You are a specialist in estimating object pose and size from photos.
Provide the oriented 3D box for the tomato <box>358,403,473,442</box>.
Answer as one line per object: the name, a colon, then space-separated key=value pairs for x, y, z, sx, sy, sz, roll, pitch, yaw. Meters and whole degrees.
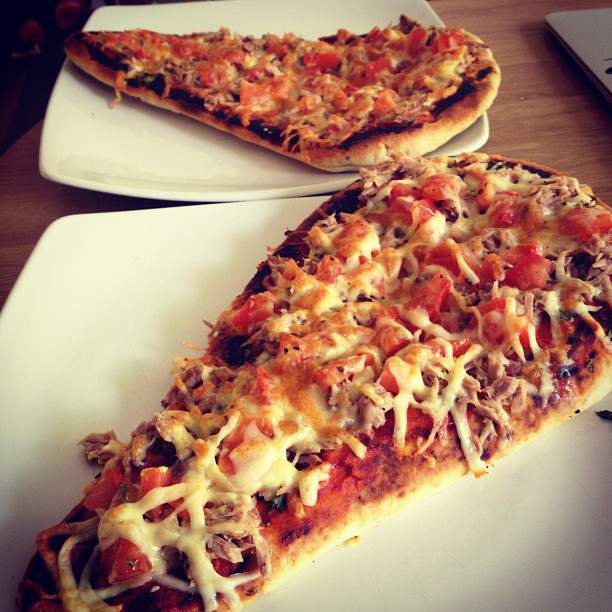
tomato: x=0.299 y=0.314 z=1.762 sx=0.322 sy=0.061 sz=0.084 roll=-4 pitch=58 yaw=-3

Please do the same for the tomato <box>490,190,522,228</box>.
tomato: x=0.625 y=-0.292 z=2.072 sx=0.075 sy=0.118 sz=0.025 roll=9 pitch=68 yaw=49

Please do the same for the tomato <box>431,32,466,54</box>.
tomato: x=0.702 y=-1.278 z=3.244 sx=0.163 sy=0.082 sz=0.161 roll=5 pitch=57 yaw=4

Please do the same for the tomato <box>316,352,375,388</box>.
tomato: x=0.098 y=0.163 z=1.715 sx=0.178 sy=0.041 sz=0.071 roll=-16 pitch=39 yaw=-18

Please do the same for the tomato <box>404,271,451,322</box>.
tomato: x=0.392 y=-0.025 z=1.947 sx=0.164 sy=0.051 sz=0.140 roll=0 pitch=54 yaw=44

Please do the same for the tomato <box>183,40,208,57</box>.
tomato: x=-0.586 y=-1.379 z=3.574 sx=0.123 sy=0.039 sz=0.098 roll=-21 pitch=63 yaw=-6

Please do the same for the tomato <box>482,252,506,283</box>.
tomato: x=0.557 y=-0.113 z=1.943 sx=0.072 sy=0.035 sz=0.076 roll=-4 pitch=81 yaw=39

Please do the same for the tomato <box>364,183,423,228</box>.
tomato: x=0.297 y=-0.334 z=2.218 sx=0.192 sy=0.054 sz=0.152 roll=-3 pitch=60 yaw=29

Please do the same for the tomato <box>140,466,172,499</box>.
tomato: x=-0.368 y=0.425 z=1.612 sx=0.083 sy=0.072 sz=0.069 roll=13 pitch=81 yaw=2

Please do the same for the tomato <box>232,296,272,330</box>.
tomato: x=-0.175 y=0.027 z=2.001 sx=0.127 sy=0.088 sz=0.046 roll=-31 pitch=74 yaw=-28

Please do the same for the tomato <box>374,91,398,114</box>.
tomato: x=0.357 y=-0.928 z=3.007 sx=0.098 sy=0.039 sz=0.127 roll=-16 pitch=57 yaw=-10

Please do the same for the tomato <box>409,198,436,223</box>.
tomato: x=0.379 y=-0.315 z=2.136 sx=0.098 sy=0.027 sz=0.079 roll=17 pitch=51 yaw=-1

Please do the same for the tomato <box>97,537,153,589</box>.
tomato: x=-0.459 y=0.596 z=1.571 sx=0.176 sy=0.038 sz=0.151 roll=5 pitch=21 yaw=-6

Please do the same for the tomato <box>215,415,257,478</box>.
tomato: x=-0.185 y=0.346 z=1.637 sx=0.068 sy=0.040 sz=0.160 roll=14 pitch=57 yaw=10

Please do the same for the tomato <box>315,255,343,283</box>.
tomato: x=0.066 y=-0.107 z=1.980 sx=0.082 sy=0.038 sz=0.077 roll=-3 pitch=59 yaw=0

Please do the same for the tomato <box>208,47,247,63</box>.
tomato: x=-0.409 y=-1.323 z=3.460 sx=0.163 sy=0.032 sz=0.115 roll=-1 pitch=30 yaw=-22

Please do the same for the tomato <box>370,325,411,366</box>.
tomato: x=0.216 y=0.097 z=1.785 sx=0.113 sy=0.043 sz=0.087 roll=-36 pitch=63 yaw=-21

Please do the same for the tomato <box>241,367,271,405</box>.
tomato: x=-0.133 y=0.203 z=1.715 sx=0.038 sy=0.091 sz=0.078 roll=16 pitch=87 yaw=-29
